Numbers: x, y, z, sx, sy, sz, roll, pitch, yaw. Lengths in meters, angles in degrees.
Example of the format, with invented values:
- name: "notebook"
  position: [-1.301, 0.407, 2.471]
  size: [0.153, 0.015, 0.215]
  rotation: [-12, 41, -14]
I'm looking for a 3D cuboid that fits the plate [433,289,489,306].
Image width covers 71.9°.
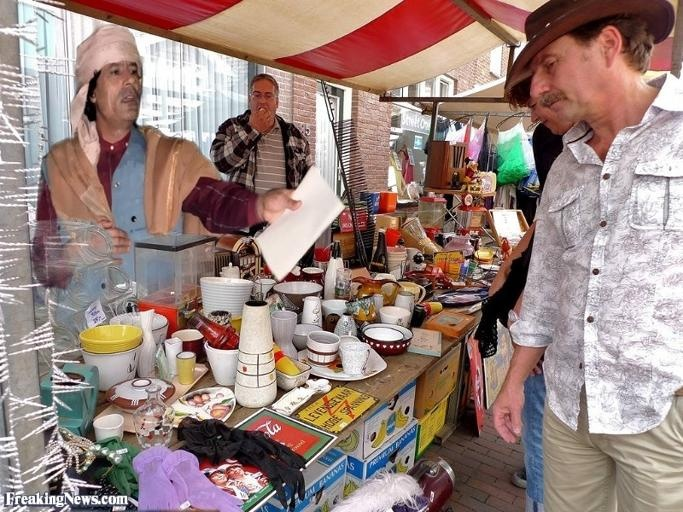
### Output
- name: "plate"
  position: [0.798, 0.270, 3.169]
  size: [0.129, 0.100, 0.397]
  rotation: [3, 9, 45]

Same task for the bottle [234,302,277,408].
- name: "bottle"
  position: [-0.328, 0.367, 1.828]
  size: [0.176, 0.412, 0.126]
  rotation: [-3, 6, -21]

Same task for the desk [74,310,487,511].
- name: "desk"
  position: [-0.262, 0.588, 1.882]
  size: [1.209, 0.277, 0.798]
  rotation: [5, 13, 23]

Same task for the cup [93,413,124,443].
- name: "cup"
  position: [-0.765, 0.564, 1.555]
  size: [0.075, 0.066, 0.093]
  rotation: [1, 4, -20]

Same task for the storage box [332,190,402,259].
- name: "storage box"
  position: [0.169, -0.275, 3.974]
  size: [0.189, 0.604, 0.441]
  rotation: [2, 1, 26]

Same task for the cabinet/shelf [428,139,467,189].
- name: "cabinet/shelf"
  position: [1.008, -0.913, 4.610]
  size: [0.285, 0.520, 0.395]
  rotation: [11, 19, 30]
